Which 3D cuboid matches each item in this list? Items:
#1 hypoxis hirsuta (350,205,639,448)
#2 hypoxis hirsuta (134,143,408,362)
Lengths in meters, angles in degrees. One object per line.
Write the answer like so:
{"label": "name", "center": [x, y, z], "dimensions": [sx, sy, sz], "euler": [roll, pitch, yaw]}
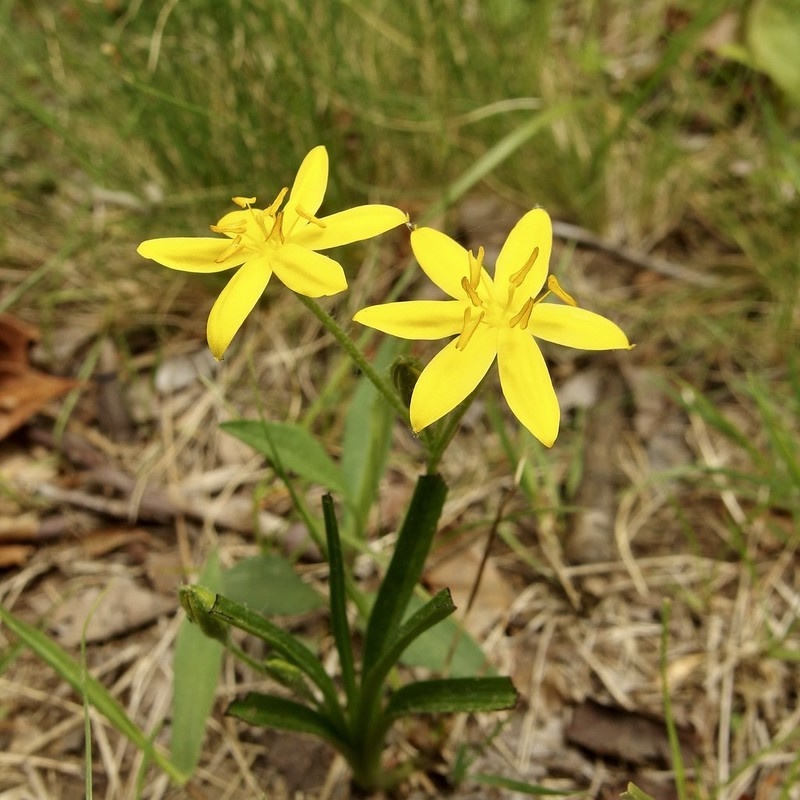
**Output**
{"label": "hypoxis hirsuta", "center": [0.131, -0.074, 1.054], "dimensions": [0.321, 0.082, 0.288], "euler": [-28, 66, -20]}
{"label": "hypoxis hirsuta", "center": [-0.170, -0.223, 1.167], "dimensions": [0.314, 0.114, 0.360], "euler": [-32, 35, -22]}
